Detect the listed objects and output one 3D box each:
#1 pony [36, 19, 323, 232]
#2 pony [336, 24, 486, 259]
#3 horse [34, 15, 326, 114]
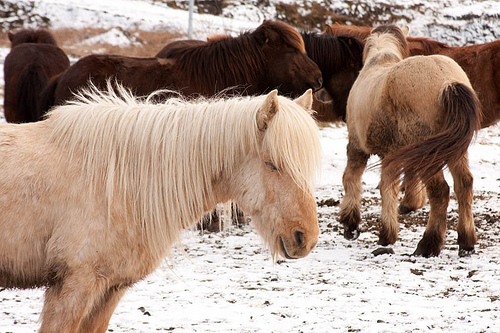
[{"bbox_3d":[-1.168,-0.596,10.620,4.238,2.915,1.174,-4,10,-1],"label":"pony"},{"bbox_3d":[2.228,-0.392,9.754,1.806,3.037,1.825,4,9,0],"label":"pony"},{"bbox_3d":[-1.207,-0.899,10.683,4.381,2.330,1.008,1,4,9],"label":"horse"}]
